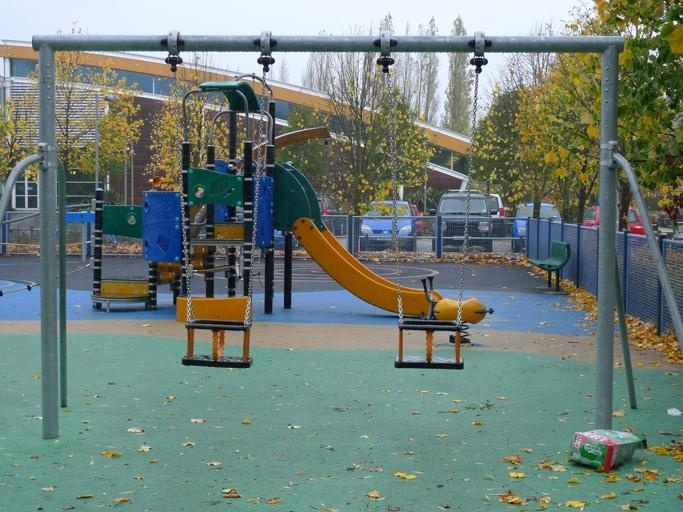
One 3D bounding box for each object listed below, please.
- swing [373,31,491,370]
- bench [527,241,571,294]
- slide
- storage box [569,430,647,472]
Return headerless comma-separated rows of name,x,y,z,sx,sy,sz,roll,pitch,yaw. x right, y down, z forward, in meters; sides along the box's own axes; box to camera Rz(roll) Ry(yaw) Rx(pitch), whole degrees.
swing,1.125,0.533,10.671,1.275,5.922,1.212,2,7,2
bench,4.866,0.109,20.920,0.981,1.591,1.895,0,1,1
slide,-0.125,-0.202,16.665,2.749,2.752,3.275,-3,10,-8
storage box,2.708,1.886,9.205,0.529,0.284,0.847,13,4,43
